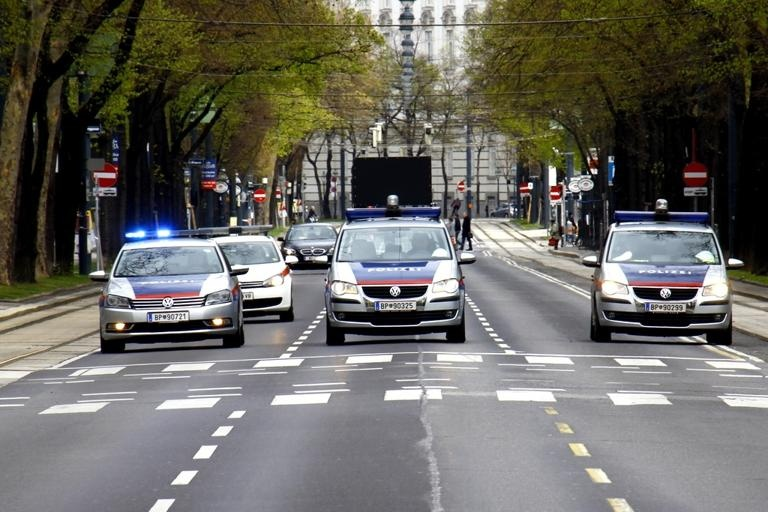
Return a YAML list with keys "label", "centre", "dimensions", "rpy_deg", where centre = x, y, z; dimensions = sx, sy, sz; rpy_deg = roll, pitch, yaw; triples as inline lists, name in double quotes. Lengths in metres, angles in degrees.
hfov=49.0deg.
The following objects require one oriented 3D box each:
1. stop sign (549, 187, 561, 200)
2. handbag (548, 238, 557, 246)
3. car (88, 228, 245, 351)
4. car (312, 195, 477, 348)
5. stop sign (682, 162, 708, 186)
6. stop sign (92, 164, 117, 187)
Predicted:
- label: "stop sign"
  centre: [12.522, -4.579, 61.726]
  dimensions: [1.239, 1.058, 0.544]
  rpy_deg: [-6, 7, -41]
- label: "handbag"
  centre: [12.870, -1.057, 64.438]
  dimensions: [0.456, 0.457, 0.645]
  rpy_deg: [2, -2, 4]
- label: "car"
  centre: [-4.314, 0.596, 16.958]
  dimensions: [1.912, 1.354, 3.075]
  rpy_deg: [-1, -4, -5]
- label: "car"
  centre: [0.241, 0.550, 17.554]
  dimensions: [2.695, 2.557, 2.776]
  rpy_deg: [-2, 5, 0]
- label: "stop sign"
  centre: [11.567, -3.016, 31.416]
  dimensions: [0.752, 0.896, 0.765]
  rpy_deg: [0, 5, 15]
- label: "stop sign"
  centre: [-11.889, -3.432, 36.040]
  dimensions: [0.729, 1.030, 1.162]
  rpy_deg: [0, 5, 15]
